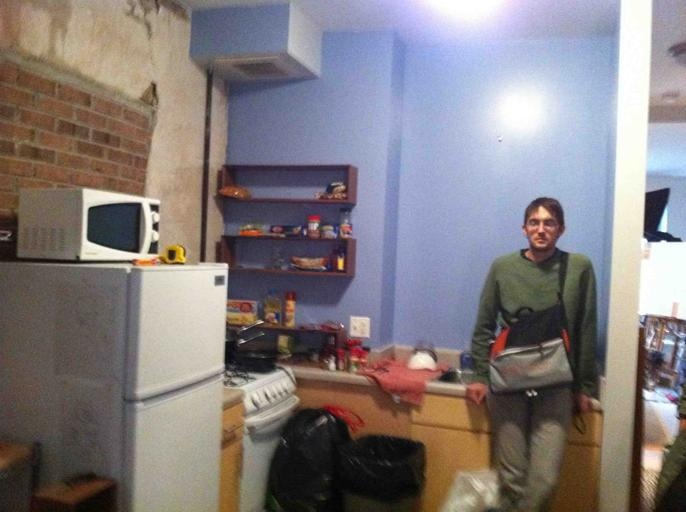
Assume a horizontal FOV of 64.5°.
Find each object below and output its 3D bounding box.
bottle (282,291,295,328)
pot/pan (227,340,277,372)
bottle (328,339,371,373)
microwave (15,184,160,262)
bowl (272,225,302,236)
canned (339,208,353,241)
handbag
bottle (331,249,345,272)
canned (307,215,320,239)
[{"bbox_3d":[-0.373,0.379,3.788,0.086,0.211,0.101,0,0,-5],"label":"bottle"},{"bbox_3d":[-0.548,0.626,3.286,0.225,0.084,0.215,-3,-7,15],"label":"pot/pan"},{"bbox_3d":[0.025,0.630,3.530,0.217,0.217,0.220,0,1,-39],"label":"bottle"},{"bbox_3d":[-1.200,-0.135,2.693,0.376,0.325,0.579,3,1,24],"label":"microwave"},{"bbox_3d":[-0.374,-0.159,3.722,0.230,0.067,0.115,0,0,11],"label":"bowl"},{"bbox_3d":[0.021,-0.207,3.669,0.085,0.164,0.154,0,0,2],"label":"canned"},{"bbox_3d":[1.016,0.532,3.035,0.440,0.469,0.244,-11,37,-1],"label":"handbag"},{"bbox_3d":[-0.029,0.038,3.629,0.085,0.121,0.042,0,0,8],"label":"bottle"},{"bbox_3d":[-0.197,-0.189,3.662,0.082,0.135,0.127,0,0,-4],"label":"canned"}]
